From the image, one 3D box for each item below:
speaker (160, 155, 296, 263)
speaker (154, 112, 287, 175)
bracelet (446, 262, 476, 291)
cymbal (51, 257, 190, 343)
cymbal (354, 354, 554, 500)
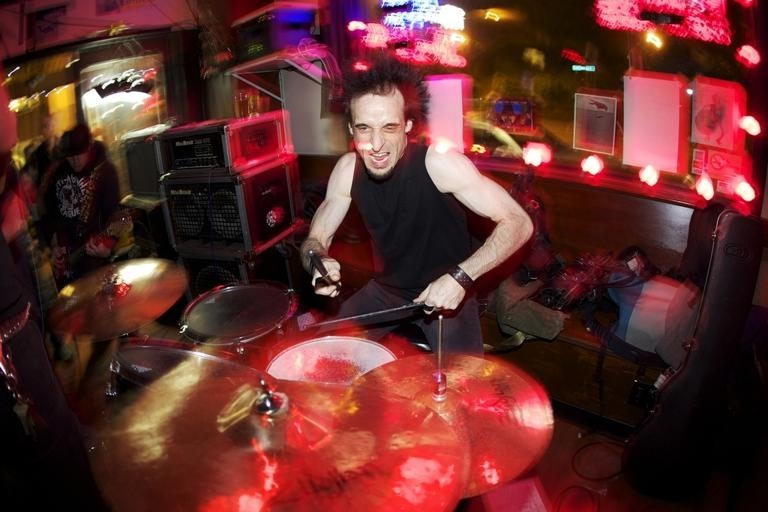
[{"bbox_3d":[-1.535,-0.461,5.499,1.023,0.831,1.078,-1,12,26],"label":"speaker"},{"bbox_3d":[-1.563,-1.116,5.216,1.318,0.480,0.738,-12,23,-22],"label":"speaker"},{"bbox_3d":[0.487,0.133,3.433,0.163,0.159,0.158,47,9,20],"label":"bracelet"},{"bbox_3d":[-1.905,0.349,3.792,0.699,0.142,0.655,-3,36,-13],"label":"cymbal"},{"bbox_3d":[0.319,0.869,2.999,1.102,0.397,1.122,-10,-6,-25],"label":"cymbal"}]
